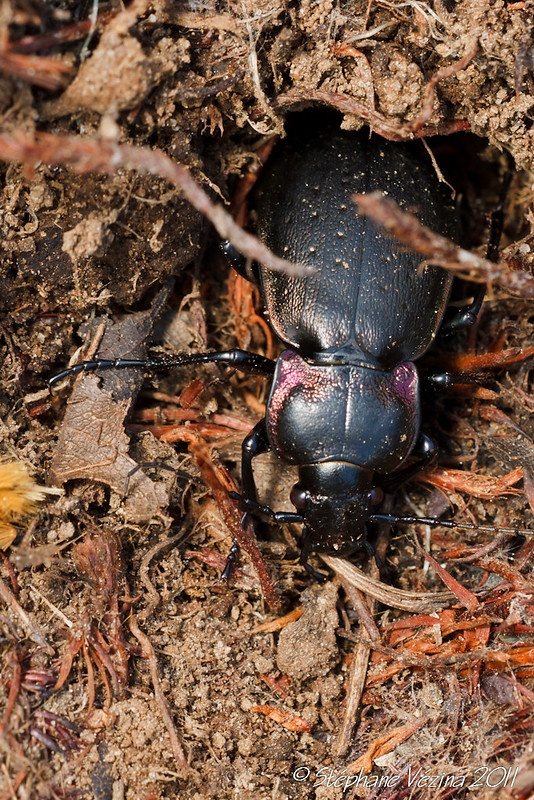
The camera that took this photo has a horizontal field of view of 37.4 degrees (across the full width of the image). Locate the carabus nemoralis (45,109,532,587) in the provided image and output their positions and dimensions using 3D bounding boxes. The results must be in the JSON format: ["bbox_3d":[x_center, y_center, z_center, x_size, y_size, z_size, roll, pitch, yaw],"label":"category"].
[{"bbox_3d":[0.055,-0.159,3.028,1.560,1.144,2.078,8,38,5],"label":"carabus nemoralis"}]
